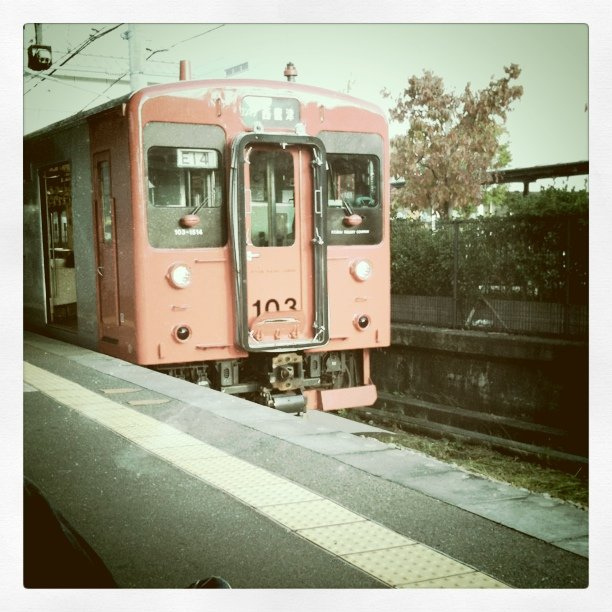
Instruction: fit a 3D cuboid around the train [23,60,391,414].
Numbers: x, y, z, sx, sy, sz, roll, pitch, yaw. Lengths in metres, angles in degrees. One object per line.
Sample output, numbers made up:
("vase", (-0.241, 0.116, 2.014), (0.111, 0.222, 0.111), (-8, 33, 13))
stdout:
("train", (-1.929, -0.768, 9.054), (2.015, 2.789, 6.582), (-2, 3, -31))
